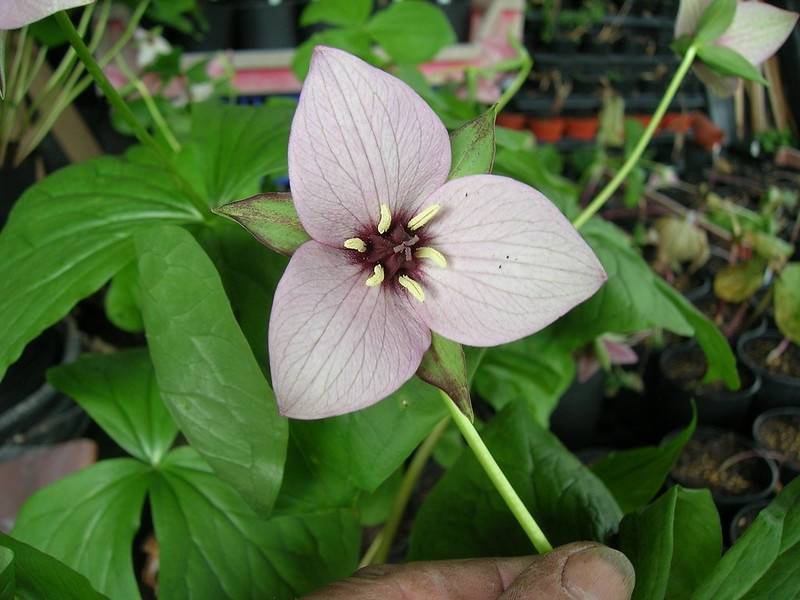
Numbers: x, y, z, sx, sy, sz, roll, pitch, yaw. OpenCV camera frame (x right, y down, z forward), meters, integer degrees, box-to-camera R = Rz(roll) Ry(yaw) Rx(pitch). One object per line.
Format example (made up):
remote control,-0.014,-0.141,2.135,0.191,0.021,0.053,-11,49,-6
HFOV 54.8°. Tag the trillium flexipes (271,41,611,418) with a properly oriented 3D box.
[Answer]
trillium flexipes,0.027,-0.079,0.783,0.329,0.290,0.192,-5,34,-12
